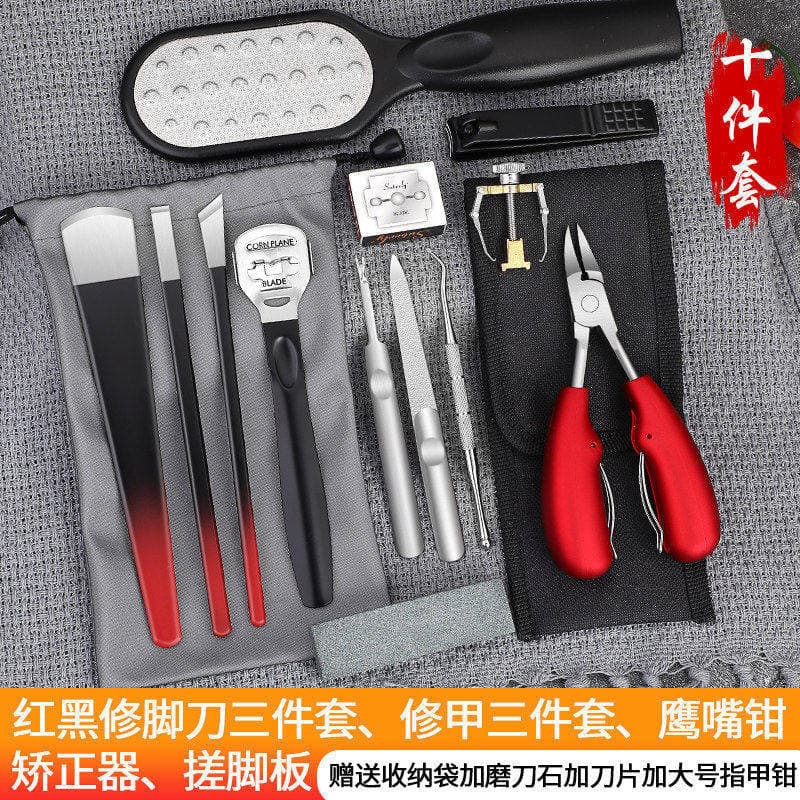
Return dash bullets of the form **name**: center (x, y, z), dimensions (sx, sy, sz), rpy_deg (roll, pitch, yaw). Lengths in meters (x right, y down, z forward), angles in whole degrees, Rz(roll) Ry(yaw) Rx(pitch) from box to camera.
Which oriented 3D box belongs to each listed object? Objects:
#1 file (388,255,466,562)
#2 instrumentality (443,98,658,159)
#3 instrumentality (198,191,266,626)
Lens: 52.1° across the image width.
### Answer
- **file**: center (0.021, 0.024, 0.681), dimensions (0.037, 0.320, 0.039), rpy_deg (-9, -7, -3)
- **instrumentality**: center (0.143, -0.241, 0.781), dimensions (0.254, 0.065, 0.058), rpy_deg (-2, -7, -10)
- **instrumentality**: center (-0.139, 0.000, 0.676), dimensions (0.044, 0.397, 0.012), rpy_deg (-7, -3, 10)
